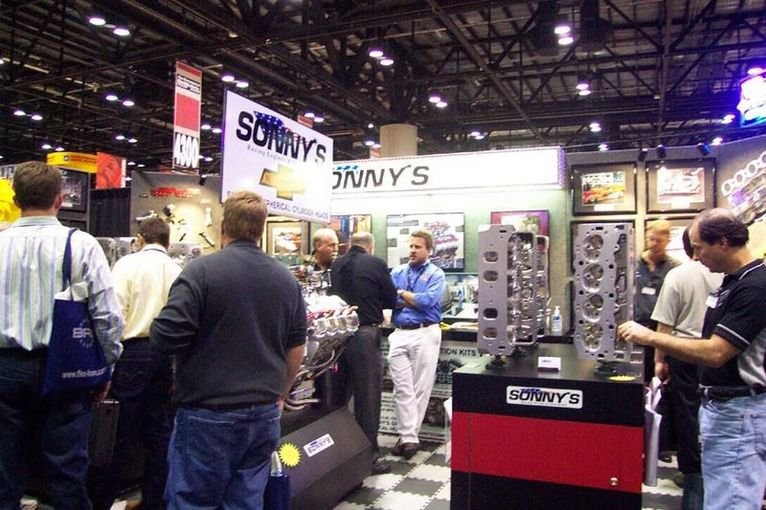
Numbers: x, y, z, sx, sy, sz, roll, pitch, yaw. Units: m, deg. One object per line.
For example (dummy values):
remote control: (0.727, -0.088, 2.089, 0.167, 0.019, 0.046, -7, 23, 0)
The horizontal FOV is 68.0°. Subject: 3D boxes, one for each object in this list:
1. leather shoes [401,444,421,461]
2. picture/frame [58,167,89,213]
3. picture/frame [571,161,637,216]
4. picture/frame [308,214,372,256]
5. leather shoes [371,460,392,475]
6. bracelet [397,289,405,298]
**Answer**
leather shoes: (0.258, 1.879, 5.528, 0.140, 0.171, 0.210, 1, 1, -5)
picture/frame: (-4.763, -0.964, 8.552, 0.957, 0.638, 0.087, 12, 7, 26)
picture/frame: (3.391, -0.983, 8.592, 0.937, 0.696, 0.069, 0, -1, 3)
picture/frame: (-0.626, -0.318, 8.323, 0.946, 0.600, 0.031, -2, 6, -24)
leather shoes: (-0.051, 1.951, 5.269, 0.233, 0.147, 0.074, 1, -6, -15)
bracelet: (0.173, 0.376, 5.610, 0.056, 0.068, 0.024, 0, -10, 17)
